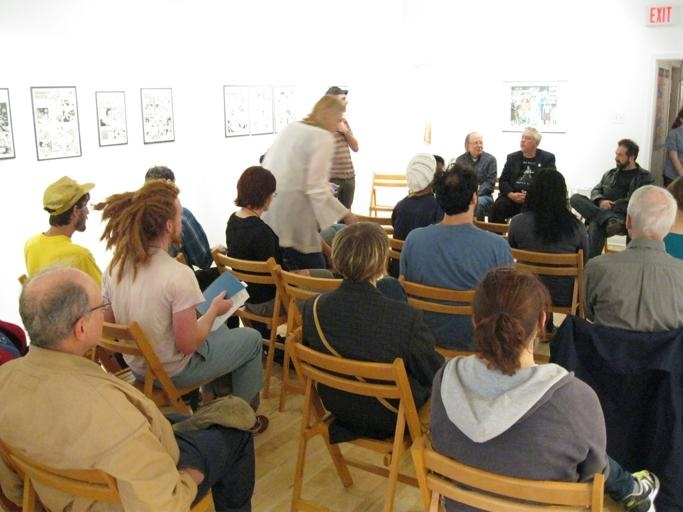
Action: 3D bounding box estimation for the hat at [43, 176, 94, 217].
[{"bbox_3d":[-1.812,-0.396,3.612,0.197,0.148,0.306,30,50,34],"label":"hat"}]

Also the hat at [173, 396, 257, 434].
[{"bbox_3d":[-0.547,0.700,2.473,0.291,0.115,0.183,-19,11,-41],"label":"hat"}]

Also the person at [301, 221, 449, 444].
[{"bbox_3d":[0.147,0.370,2.561,0.668,1.032,0.391,5,9,31],"label":"person"}]

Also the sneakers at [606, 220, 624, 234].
[{"bbox_3d":[3.177,-0.323,6.266,0.129,0.165,0.331,-6,-17,32],"label":"sneakers"}]

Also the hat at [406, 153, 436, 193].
[{"bbox_3d":[0.671,-0.706,4.490,0.190,0.148,0.365,-3,46,19],"label":"hat"}]

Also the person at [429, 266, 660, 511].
[{"bbox_3d":[0.686,0.393,2.051,0.555,0.962,0.751,9,33,32],"label":"person"}]
